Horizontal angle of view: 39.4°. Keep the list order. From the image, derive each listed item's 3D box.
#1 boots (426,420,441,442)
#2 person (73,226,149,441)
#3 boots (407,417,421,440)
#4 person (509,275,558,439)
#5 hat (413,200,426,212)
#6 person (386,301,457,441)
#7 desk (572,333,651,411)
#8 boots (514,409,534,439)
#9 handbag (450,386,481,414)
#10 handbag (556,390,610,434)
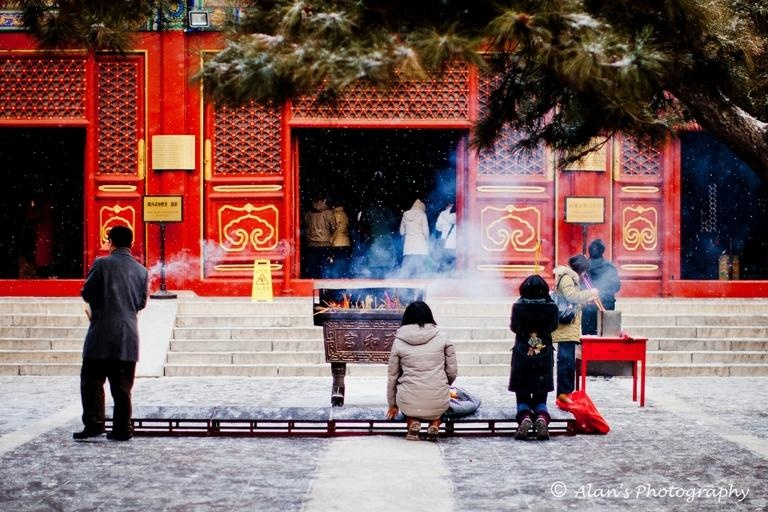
[{"bbox_3d":[0.578,2.049,12.646,0.160,0.250,0.119,0,2,-3],"label":"boots"},{"bbox_3d":[-3.249,0.901,12.746,0.865,2.507,0.543,-1,2,-19],"label":"person"},{"bbox_3d":[0.337,2.041,12.636,0.116,0.124,0.299,2,-41,-1],"label":"boots"},{"bbox_3d":[1.768,1.204,12.899,0.552,1.916,0.564,0,2,10],"label":"person"},{"bbox_3d":[0.643,-0.964,20.455,0.208,0.235,0.474,0,1,7],"label":"hat"},{"bbox_3d":[0.435,1.358,12.766,0.800,1.600,0.395,0,2,2],"label":"person"},{"bbox_3d":[2.931,1.573,14.085,0.819,0.841,0.973,-12,-8,12],"label":"desk"},{"bbox_3d":[1.642,1.990,12.689,0.179,0.180,0.390,2,-31,-3],"label":"boots"},{"bbox_3d":[0.972,1.771,13.114,0.363,0.139,0.404,1,3,7],"label":"handbag"},{"bbox_3d":[2.359,1.906,13.006,0.424,0.239,0.615,-24,41,-22],"label":"handbag"}]
